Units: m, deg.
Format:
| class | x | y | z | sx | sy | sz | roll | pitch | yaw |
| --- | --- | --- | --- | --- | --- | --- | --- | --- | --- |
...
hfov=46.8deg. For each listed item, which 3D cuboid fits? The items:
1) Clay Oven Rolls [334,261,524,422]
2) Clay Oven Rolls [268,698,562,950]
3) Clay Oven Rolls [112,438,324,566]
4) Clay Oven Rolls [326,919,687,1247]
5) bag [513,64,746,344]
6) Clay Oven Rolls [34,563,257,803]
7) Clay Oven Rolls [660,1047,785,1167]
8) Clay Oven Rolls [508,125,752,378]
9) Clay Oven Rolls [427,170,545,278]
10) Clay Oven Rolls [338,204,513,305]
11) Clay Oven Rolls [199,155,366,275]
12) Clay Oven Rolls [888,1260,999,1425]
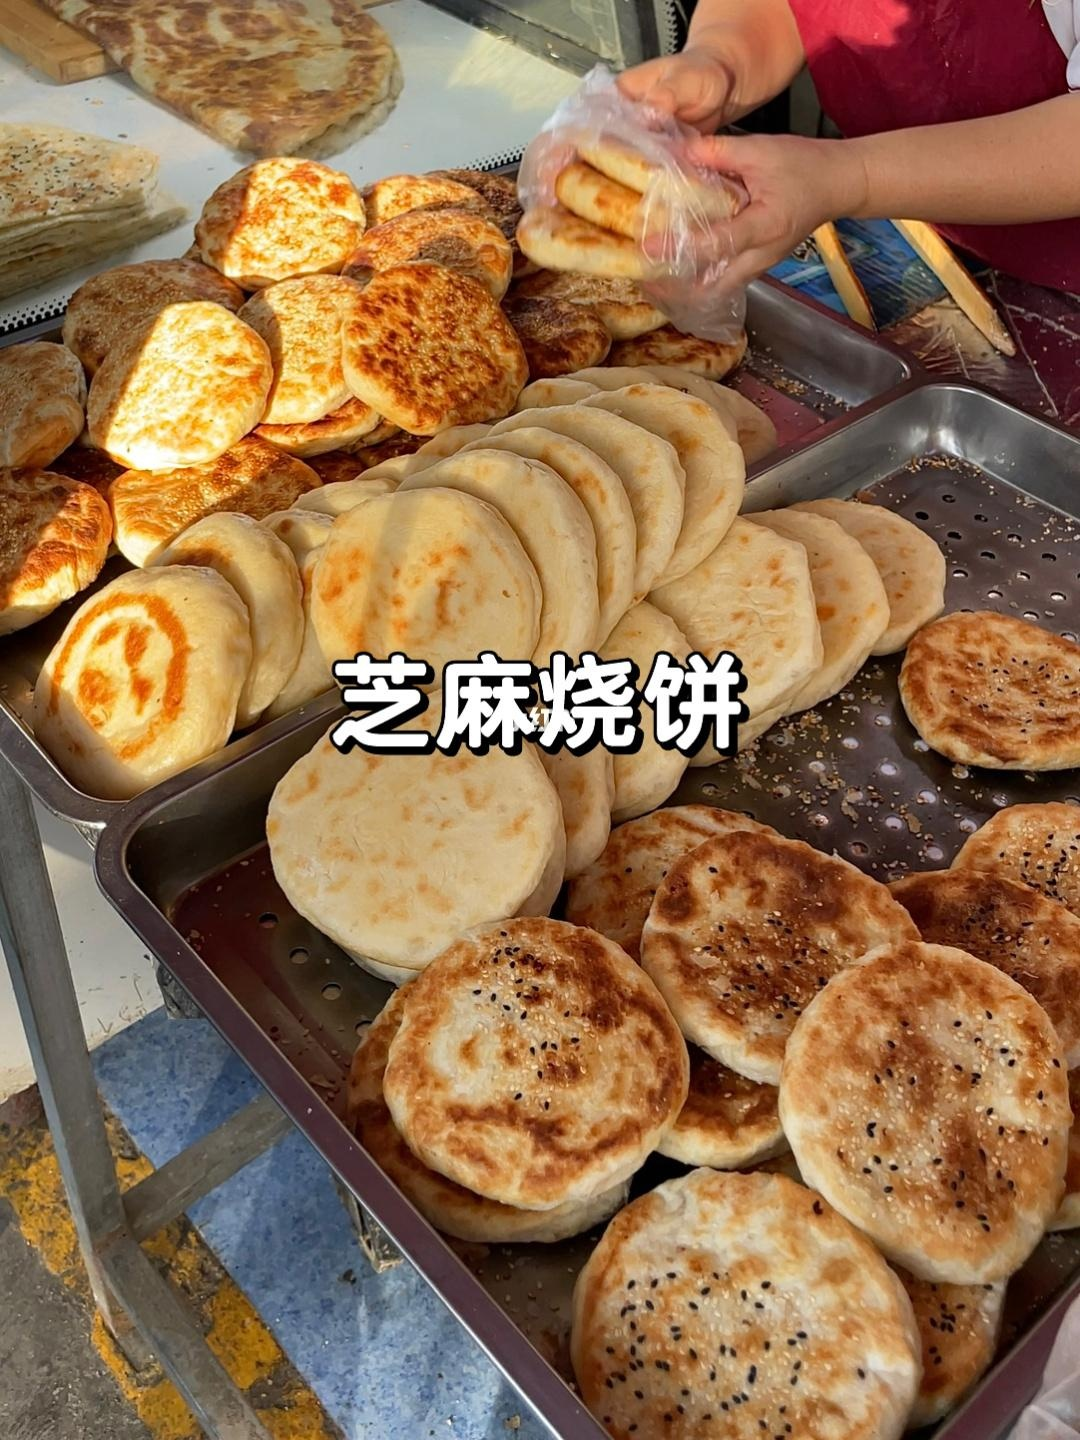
| class | x | y | z | sx | sy | sz | roll | pitch | yaw |
| --- | --- | --- | --- | --- | --- | --- | --- | --- | --- |
| Clay Oven Rolls | -0.183 | -0.591 | 2.061 | 0.320 | 0.077 | 0.283 | 13 | 63 | -17 |
| Clay Oven Rolls | -0.168 | 0.156 | 1.520 | 0.359 | 0.123 | 0.280 | 6 | 43 | 7 |
| Clay Oven Rolls | -0.521 | -0.367 | 1.978 | 0.268 | 0.075 | 0.251 | 5 | 50 | -6 |
| Clay Oven Rolls | -0.026 | 0.362 | 1.260 | 0.349 | 0.098 | 0.320 | -3 | 58 | 5 |
| bag | 0.123 | -0.853 | 2.049 | 0.136 | 0.415 | 0.420 | -41 | 17 | -7 |
| Clay Oven Rolls | -0.495 | -0.040 | 1.705 | 0.307 | 0.092 | 0.290 | -4 | 74 | 13 |
| Clay Oven Rolls | 0.194 | 0.420 | 1.317 | 0.124 | 0.034 | 0.114 | 4 | 46 | -4 |
| Clay Oven Rolls | 0.133 | -0.795 | 2.062 | 0.361 | 0.118 | 0.295 | 37 | 23 | -7 |
| Clay Oven Rolls | -0.057 | -1.013 | 2.487 | 0.266 | 0.072 | 0.247 | -9 | 75 | 37 |
| Clay Oven Rolls | -0.196 | -0.862 | 2.249 | 0.252 | 0.070 | 0.227 | -17 | 71 | -14 |
| Clay Oven Rolls | -0.472 | -0.927 | 2.286 | 0.259 | 0.069 | 0.253 | 1 | 75 | -2 |
| Clay Oven Rolls | 0.385 | 0.588 | 1.178 | 0.111 | 0.032 | 0.132 | 4 | 56 | 21 |
